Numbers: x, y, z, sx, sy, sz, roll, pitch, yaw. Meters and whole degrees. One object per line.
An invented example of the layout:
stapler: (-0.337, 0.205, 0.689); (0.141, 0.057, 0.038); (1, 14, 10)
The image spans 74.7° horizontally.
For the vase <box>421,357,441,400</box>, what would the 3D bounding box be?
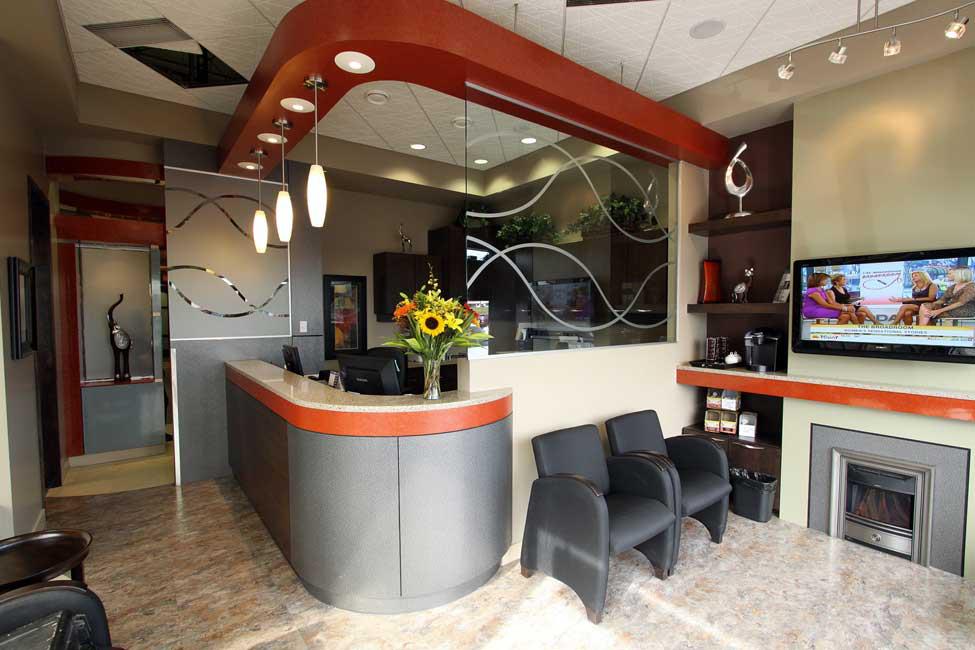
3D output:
vase: (-0.448, 0.428, 5.149); (0.142, 0.318, 0.121); (-4, 3, 0)

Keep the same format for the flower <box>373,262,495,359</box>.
flower: (-0.439, 0.006, 5.352); (0.807, 0.663, 0.780); (-10, 23, -42)

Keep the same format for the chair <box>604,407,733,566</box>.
chair: (1.643, 1.442, 5.845); (1.101, 1.067, 1.069); (2, 9, 24)

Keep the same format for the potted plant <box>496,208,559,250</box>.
potted plant: (0.358, -0.864, 5.746); (0.379, 0.217, 0.398); (-5, 9, -6)

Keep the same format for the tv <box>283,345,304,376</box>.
tv: (-1.938, 0.350, 6.303); (0.044, 0.196, 0.271); (-9, 9, -31)

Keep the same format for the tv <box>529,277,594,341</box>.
tv: (0.660, -0.155, 5.921); (0.582, 0.465, 0.180); (8, -11, -35)

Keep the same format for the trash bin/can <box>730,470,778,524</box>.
trash bin/can: (2.565, 1.646, 6.207); (0.465, 0.375, 0.286); (3, 5, 31)

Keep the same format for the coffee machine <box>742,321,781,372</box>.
coffee machine: (2.801, 0.250, 6.453); (0.366, 0.439, 0.420); (4, -1, 25)

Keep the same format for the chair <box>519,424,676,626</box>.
chair: (0.976, 1.582, 5.422); (1.103, 1.130, 1.031); (-5, 9, -43)

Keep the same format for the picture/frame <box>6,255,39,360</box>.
picture/frame: (-3.963, -0.148, 5.405); (0.079, 0.977, 0.911); (-2, 4, -23)

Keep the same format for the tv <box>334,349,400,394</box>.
tv: (-1.024, 0.468, 5.585); (0.686, 0.462, 0.240); (2, 16, 26)
